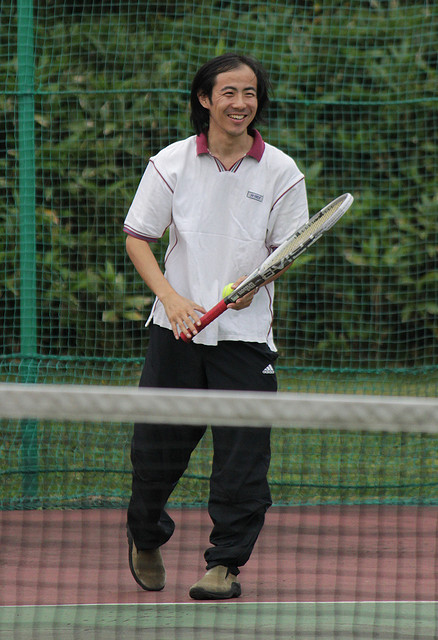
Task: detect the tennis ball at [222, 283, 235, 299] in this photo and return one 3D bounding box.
[{"bbox_3d":[0.023,-0.087,2.303,0.035,0.041,0.035,1,22,0],"label":"tennis ball"}]

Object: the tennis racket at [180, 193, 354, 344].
[{"bbox_3d":[0.213,-0.199,2.475,0.252,0.464,0.677,-1,-1,38],"label":"tennis racket"}]
